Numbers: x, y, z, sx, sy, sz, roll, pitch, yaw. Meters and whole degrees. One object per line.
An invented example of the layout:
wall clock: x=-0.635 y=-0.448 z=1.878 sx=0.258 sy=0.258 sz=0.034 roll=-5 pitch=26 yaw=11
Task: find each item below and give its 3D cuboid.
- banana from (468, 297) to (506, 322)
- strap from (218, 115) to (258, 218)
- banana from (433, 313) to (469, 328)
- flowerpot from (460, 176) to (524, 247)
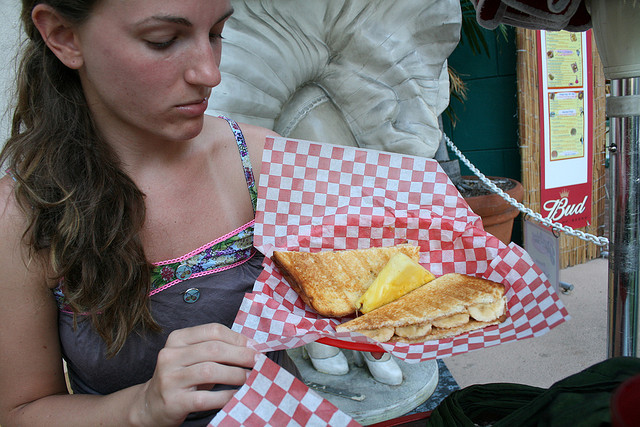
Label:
banana: x=0.431 y=0.246 z=1.262 sx=0.093 sy=0.041 sz=0.030 roll=-11 pitch=11 yaw=-4
strap: x=-0.245 y=-0.156 z=1.527 sx=0.057 sy=0.299 sz=0.155 roll=-13 pitch=11 yaw=-21
banana: x=0.338 y=0.264 z=1.270 sx=0.052 sy=0.045 sz=0.007 roll=-15 pitch=31 yaw=5
flowerpot: x=0.740 y=-0.039 z=2.243 sx=0.320 sy=0.347 sz=0.305 roll=-7 pitch=11 yaw=-14
